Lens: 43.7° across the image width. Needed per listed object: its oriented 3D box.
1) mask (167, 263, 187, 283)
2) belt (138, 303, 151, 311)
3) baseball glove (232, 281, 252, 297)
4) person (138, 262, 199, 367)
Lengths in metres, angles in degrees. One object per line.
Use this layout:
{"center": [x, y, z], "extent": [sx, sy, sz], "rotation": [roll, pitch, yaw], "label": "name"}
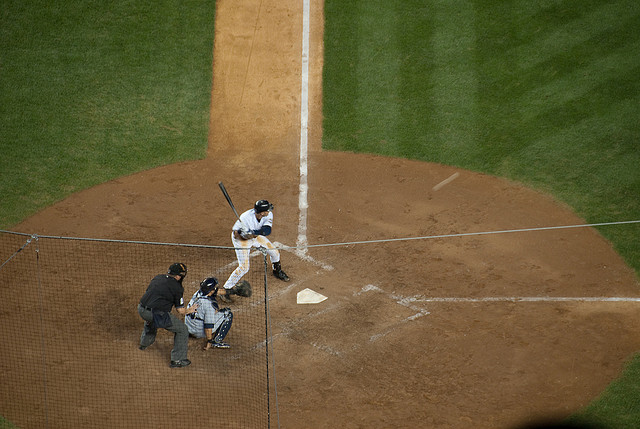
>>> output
{"center": [-3.505, 1.414, 19.712], "extent": [0.351, 0.293, 0.479], "rotation": [28, 29, 17], "label": "mask"}
{"center": [-4.244, 2.268, 19.413], "extent": [0.268, 0.091, 0.072], "rotation": [26, 73, 9], "label": "belt"}
{"center": [-2.029, 1.947, 20.908], "extent": [0.485, 0.232, 0.343], "rotation": [10, 72, 4], "label": "baseball glove"}
{"center": [-3.631, 2.486, 19.669], "extent": [1.347, 0.986, 2.183], "rotation": [-19, 72, -6], "label": "person"}
